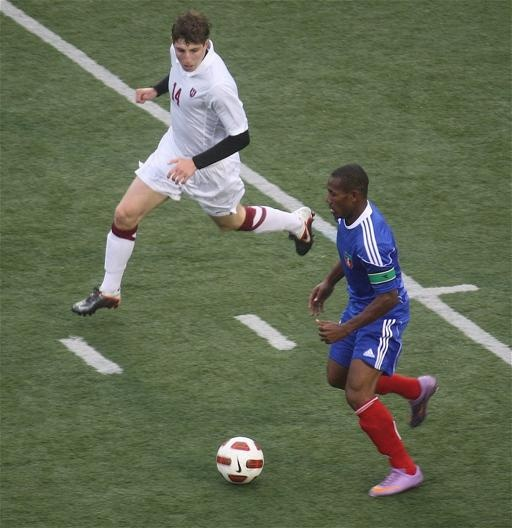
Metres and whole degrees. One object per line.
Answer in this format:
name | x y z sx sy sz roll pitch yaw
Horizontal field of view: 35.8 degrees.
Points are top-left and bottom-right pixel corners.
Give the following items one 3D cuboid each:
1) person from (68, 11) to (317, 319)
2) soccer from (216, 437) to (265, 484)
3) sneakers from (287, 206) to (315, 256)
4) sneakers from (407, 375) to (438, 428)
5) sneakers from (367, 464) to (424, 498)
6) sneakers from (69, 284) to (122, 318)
person | -0.154 -0.636 5.182 1.430 2.015 1.385 10 47 -11
soccer | -0.057 0.975 4.016 0.355 0.197 0.253 1 5 2
sneakers | 0.384 -0.235 5.847 0.188 0.332 0.210 9 29 38
sneakers | 0.893 0.778 4.483 0.225 0.288 0.117 1 30 -10
sneakers | 0.726 1.119 4.098 0.376 0.090 0.105 -6 7 -14
sneakers | -0.950 0.247 5.153 0.461 0.169 0.117 -10 48 -9
